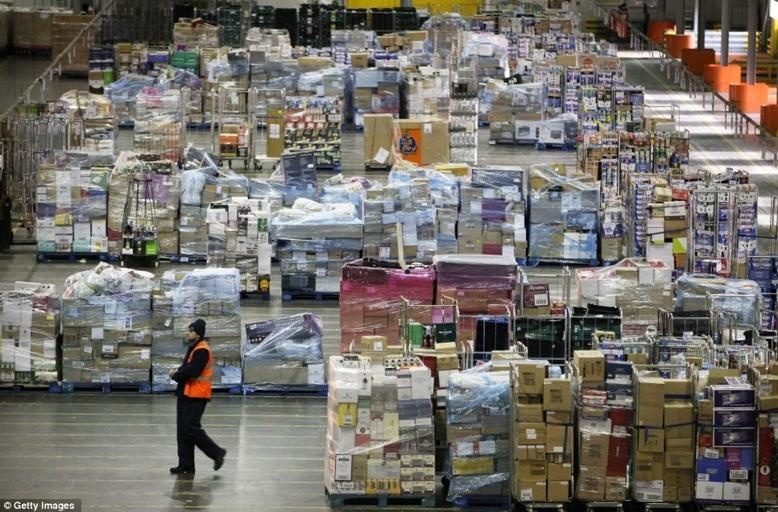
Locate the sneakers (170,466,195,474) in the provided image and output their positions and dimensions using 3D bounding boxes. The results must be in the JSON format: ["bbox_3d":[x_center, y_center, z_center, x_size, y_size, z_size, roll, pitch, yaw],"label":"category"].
[{"bbox_3d":[-4.112,4.209,32.792,0.484,0.206,0.174,5,4,-1],"label":"sneakers"}]

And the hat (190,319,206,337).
[{"bbox_3d":[-3.757,1.386,32.602,0.369,0.305,0.273,9,12,-33],"label":"hat"}]

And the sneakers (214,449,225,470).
[{"bbox_3d":[-3.366,4.004,32.714,0.238,0.460,0.175,6,6,-3],"label":"sneakers"}]
